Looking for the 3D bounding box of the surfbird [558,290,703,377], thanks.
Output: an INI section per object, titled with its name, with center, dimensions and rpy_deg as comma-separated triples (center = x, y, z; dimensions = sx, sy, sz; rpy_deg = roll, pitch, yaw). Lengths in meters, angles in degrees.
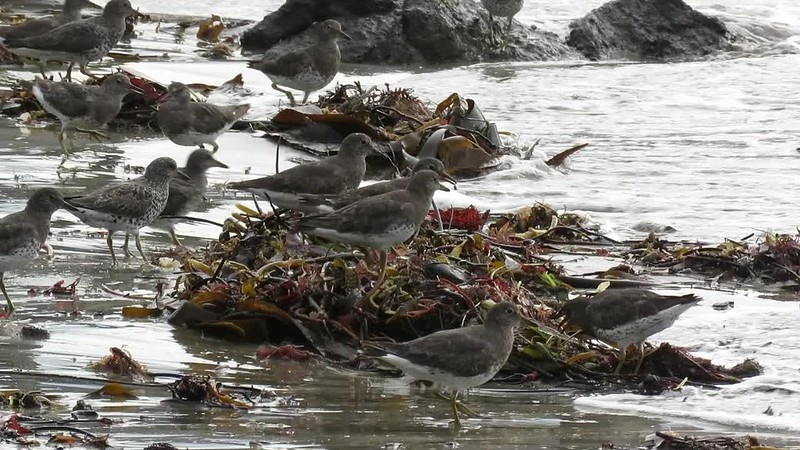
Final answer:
[surfbird]
center = 2.527, 1.179, 11.102
dimensions = 1.747, 0.881, 0.759
rpy_deg = -9, 0, 20
